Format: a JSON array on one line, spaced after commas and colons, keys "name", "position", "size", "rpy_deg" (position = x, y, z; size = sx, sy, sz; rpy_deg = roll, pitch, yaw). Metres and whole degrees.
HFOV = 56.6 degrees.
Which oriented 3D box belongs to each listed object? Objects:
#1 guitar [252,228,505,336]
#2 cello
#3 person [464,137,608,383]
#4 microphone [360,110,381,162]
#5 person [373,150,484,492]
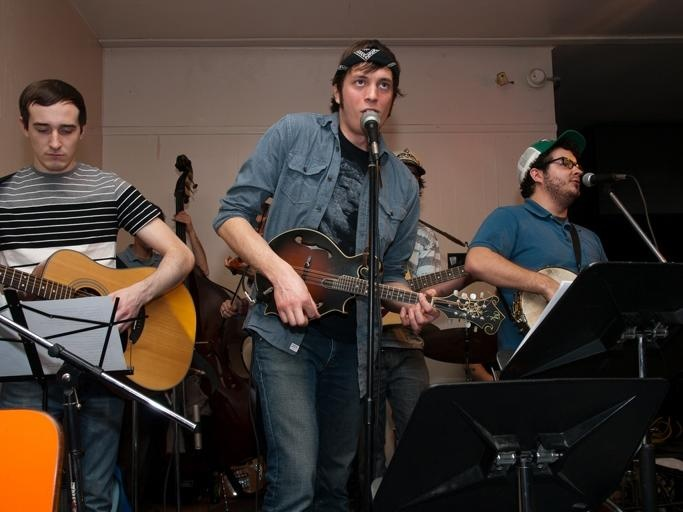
[{"name": "guitar", "position": [0.202, 0.125, 2.917], "size": [1.256, 0.554, 0.157], "rpy_deg": [10, -4, -11]}, {"name": "cello", "position": [-1.038, 0.378, 4.920], "size": [0.812, 2.270, 0.294], "rpy_deg": [-6, -9, -31]}, {"name": "person", "position": [1.181, -0.104, 3.726], "size": [0.636, 1.291, 0.955], "rpy_deg": [1, 5, 32]}, {"name": "microphone", "position": [0.127, -0.507, 2.663], "size": [0.064, 0.072, 0.249], "rpy_deg": [3, 47, -5]}, {"name": "person", "position": [0.386, 0.473, 3.871], "size": [0.725, 2.008, 0.282], "rpy_deg": [6, -17, -18]}]
